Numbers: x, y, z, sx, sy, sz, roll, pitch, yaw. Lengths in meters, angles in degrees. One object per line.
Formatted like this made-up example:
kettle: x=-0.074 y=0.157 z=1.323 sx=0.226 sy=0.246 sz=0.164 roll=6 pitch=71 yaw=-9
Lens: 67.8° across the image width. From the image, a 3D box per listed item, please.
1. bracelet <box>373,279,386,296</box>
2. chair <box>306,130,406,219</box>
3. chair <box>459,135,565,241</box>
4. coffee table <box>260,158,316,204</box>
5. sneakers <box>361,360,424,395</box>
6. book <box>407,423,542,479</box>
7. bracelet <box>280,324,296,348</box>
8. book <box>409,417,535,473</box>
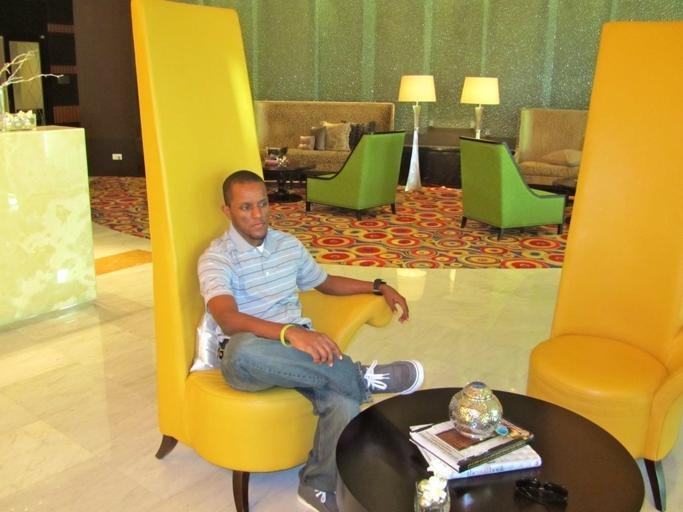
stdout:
bracelet: x=0.170 y=0.144 z=2.404 sx=0.075 sy=0.060 sz=0.068 roll=12 pitch=16 yaw=19
chair: x=-0.027 y=-1.241 z=7.267 sx=1.417 sy=1.287 sz=1.060 roll=16 pitch=22 yaw=39
chair: x=1.956 y=-0.939 z=6.807 sx=1.424 sy=1.556 sz=1.220 roll=-10 pitch=16 yaw=-27
coffee table: x=-0.872 y=-1.272 z=8.390 sx=0.969 sy=0.535 sz=0.928 roll=-16 pitch=27 yaw=-37
sneakers: x=0.223 y=0.524 z=2.220 sx=0.351 sy=0.100 sz=0.129 roll=0 pitch=3 yaw=8
book: x=0.424 y=0.560 z=1.488 sx=0.169 sy=0.030 sz=0.158 roll=-6 pitch=11 yaw=-27
bracelet: x=-0.191 y=0.294 z=1.844 sx=0.018 sy=0.065 sz=0.068 roll=5 pitch=-5 yaw=10
book: x=0.407 y=0.562 z=1.542 sx=0.203 sy=0.046 sz=0.184 roll=-9 pitch=15 yaw=-33
